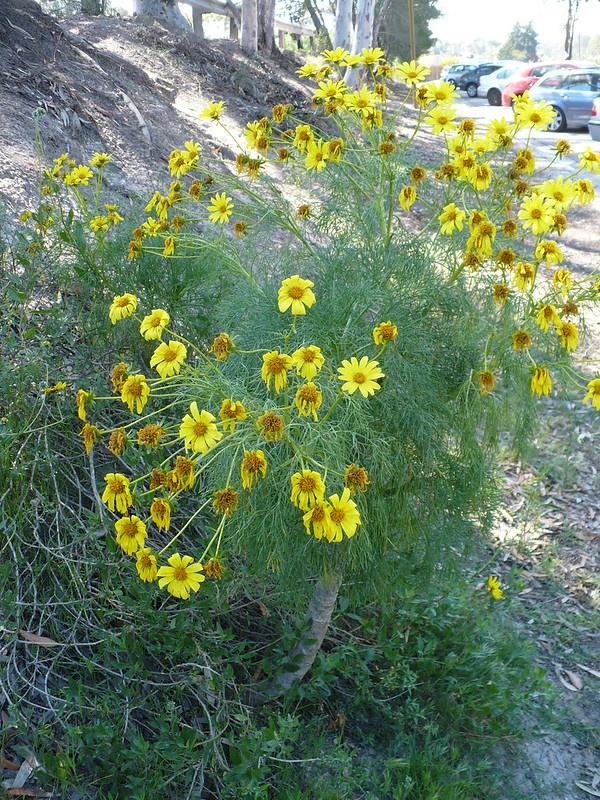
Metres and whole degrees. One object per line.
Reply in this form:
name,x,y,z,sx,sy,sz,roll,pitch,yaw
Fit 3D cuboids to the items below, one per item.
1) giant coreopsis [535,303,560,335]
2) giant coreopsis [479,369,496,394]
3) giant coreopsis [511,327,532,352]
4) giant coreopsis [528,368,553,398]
giant coreopsis,0.566,-0.190,1.450,0.060,0.060,0.032,19,32,16
giant coreopsis,0.463,-0.041,1.569,0.036,0.068,0.046,18,22,32
giant coreopsis,0.516,-0.137,1.499,0.049,0.050,0.053,-26,-8,13
giant coreopsis,0.565,-0.046,1.481,0.066,0.066,0.029,-7,33,17
